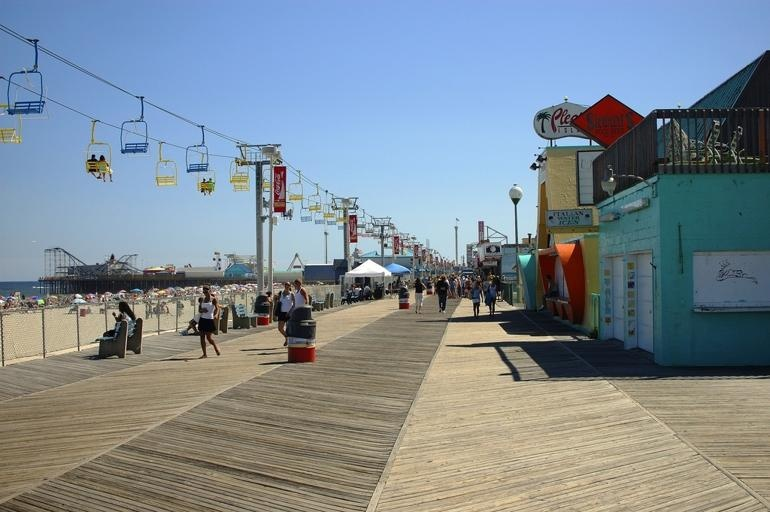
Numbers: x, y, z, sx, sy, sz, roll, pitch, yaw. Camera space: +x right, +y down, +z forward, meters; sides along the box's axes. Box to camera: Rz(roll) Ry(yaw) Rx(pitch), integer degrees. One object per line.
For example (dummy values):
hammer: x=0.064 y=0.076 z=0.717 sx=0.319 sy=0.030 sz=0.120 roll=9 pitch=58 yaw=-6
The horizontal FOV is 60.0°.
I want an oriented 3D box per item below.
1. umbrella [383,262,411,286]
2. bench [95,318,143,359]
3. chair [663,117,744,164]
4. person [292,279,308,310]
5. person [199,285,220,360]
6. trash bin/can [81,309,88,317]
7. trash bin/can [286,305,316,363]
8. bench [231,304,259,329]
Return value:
umbrella: x=1.037 y=2.330 z=63.669 sx=2.488 sy=2.184 sz=2.840 roll=-1 pitch=0 yaw=9
bench: x=-7.892 y=2.526 z=19.838 sx=0.943 sy=1.186 sz=1.736 roll=0 pitch=-3 yaw=8
chair: x=8.278 y=-3.014 z=17.377 sx=2.303 sy=1.292 sz=1.250 roll=-1 pitch=3 yaw=-4
person: x=-2.585 y=1.070 z=20.290 sx=0.436 sy=0.888 sz=1.240 roll=-1 pitch=3 yaw=-9
person: x=-5.096 y=1.852 z=19.133 sx=0.675 sy=2.117 sz=0.891 roll=5 pitch=1 yaw=1
trash bin/can: x=-9.680 y=1.801 z=21.342 sx=0.161 sy=0.210 sz=0.208 roll=-1 pitch=2 yaw=3
trash bin/can: x=-2.260 y=2.075 z=17.864 sx=0.717 sy=1.473 sz=0.450 roll=-1 pitch=3 yaw=-13
bench: x=-5.948 y=2.475 z=27.940 sx=0.887 sy=1.024 sz=1.602 roll=-1 pitch=3 yaw=2
